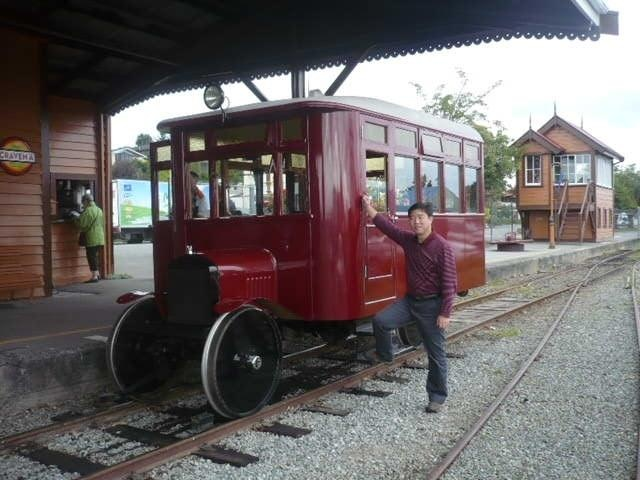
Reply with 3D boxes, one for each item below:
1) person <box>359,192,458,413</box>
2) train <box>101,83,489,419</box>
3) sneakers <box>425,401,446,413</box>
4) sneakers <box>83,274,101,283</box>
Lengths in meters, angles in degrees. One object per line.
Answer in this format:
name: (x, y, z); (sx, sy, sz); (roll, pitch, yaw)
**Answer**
person: (1.075, 0.738, 5.560); (0.968, 2.309, 0.500); (1, 2, 19)
train: (-0.022, -0.044, 7.659); (3.275, 4.260, 6.135); (1, 4, 38)
sneakers: (1.276, 1.846, 5.319); (0.175, 0.085, 0.088); (-2, 4, -30)
sneakers: (-5.915, 0.977, 12.452); (0.421, 0.205, 0.171); (2, 1, 40)
